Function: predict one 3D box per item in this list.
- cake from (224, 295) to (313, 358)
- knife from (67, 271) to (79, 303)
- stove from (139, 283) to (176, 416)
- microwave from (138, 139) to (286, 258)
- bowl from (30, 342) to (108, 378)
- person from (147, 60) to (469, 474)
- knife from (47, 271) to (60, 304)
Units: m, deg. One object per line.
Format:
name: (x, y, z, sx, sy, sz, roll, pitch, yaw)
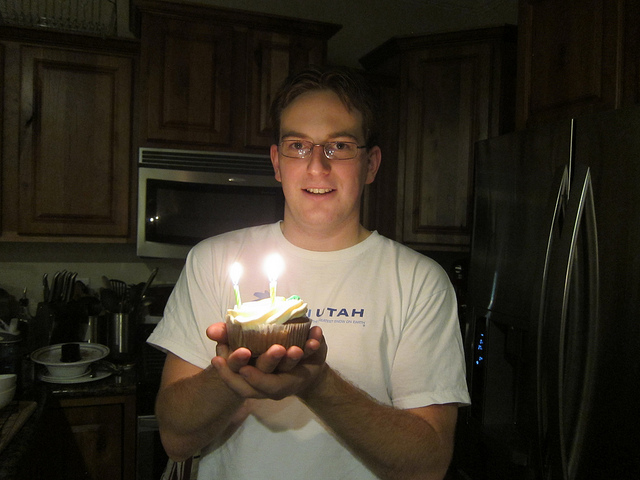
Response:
cake: (-0.153, 0.225, 1.626, 0.259, 0.175, 0.279, 0, 7, -32)
knife: (-1.420, 0.261, 3.185, 0.039, 0.137, 0.035, 6, -6, 1)
stove: (-0.729, 0.493, 2.450, 0.240, 0.647, 0.299, 1, 8, -23)
microwave: (-0.628, -0.301, 3.540, 0.989, 0.744, 0.536, 2, 28, -16)
bowl: (-1.270, 0.588, 2.832, 0.353, 0.152, 0.290, -2, 5, -25)
person: (-0.032, 0.093, 1.784, 0.935, 1.351, 0.625, -2, 5, -27)
knife: (-1.542, 0.274, 3.221, 0.028, 0.163, 0.042, 10, -13, 0)
